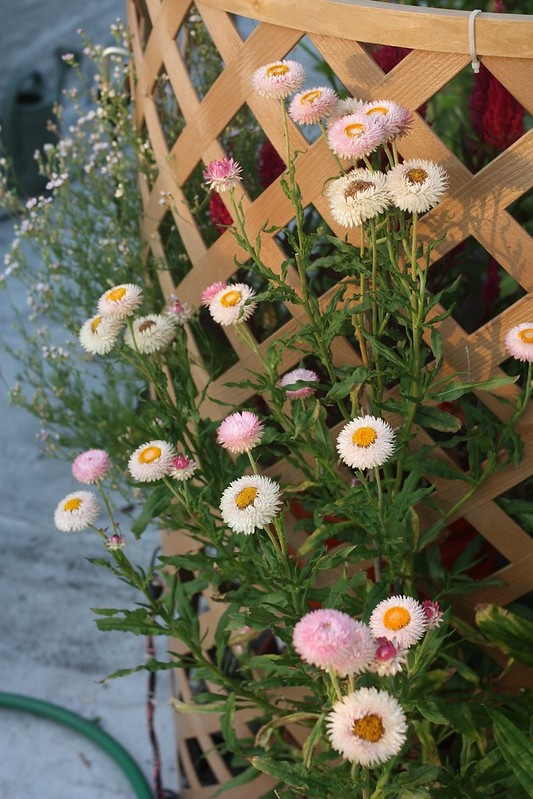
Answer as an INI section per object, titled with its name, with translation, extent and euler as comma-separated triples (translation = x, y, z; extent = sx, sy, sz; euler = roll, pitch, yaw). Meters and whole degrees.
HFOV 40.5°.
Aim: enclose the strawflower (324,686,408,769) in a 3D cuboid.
[strawflower]
translation = 0.087, 0.293, 0.656
extent = 0.076, 0.029, 0.069
euler = -1, 68, 10
